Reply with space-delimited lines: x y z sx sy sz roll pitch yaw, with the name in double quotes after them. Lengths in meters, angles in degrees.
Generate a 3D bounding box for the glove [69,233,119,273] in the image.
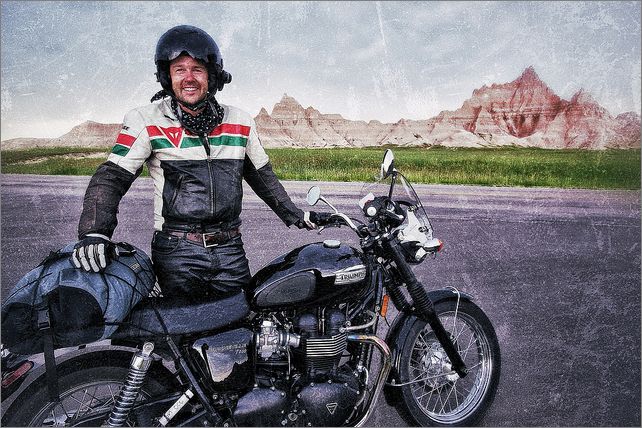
-1.786 0.283 3.672 0.286 0.270 0.106 -6 -20 19 "glove"
